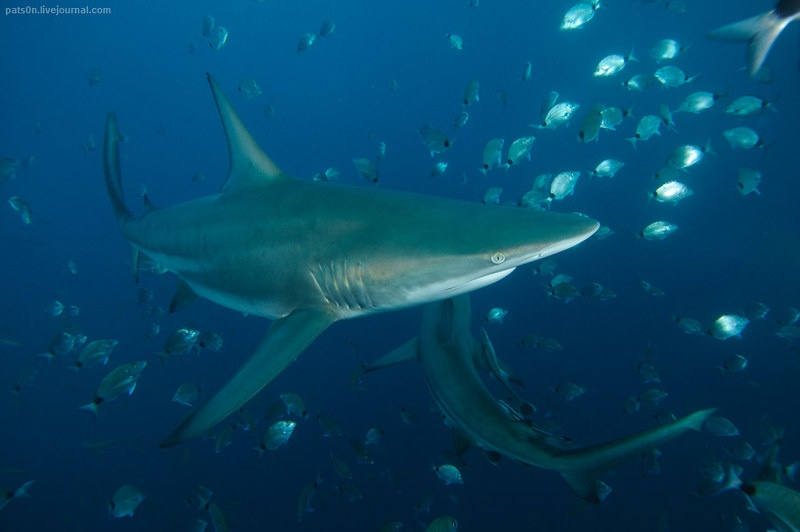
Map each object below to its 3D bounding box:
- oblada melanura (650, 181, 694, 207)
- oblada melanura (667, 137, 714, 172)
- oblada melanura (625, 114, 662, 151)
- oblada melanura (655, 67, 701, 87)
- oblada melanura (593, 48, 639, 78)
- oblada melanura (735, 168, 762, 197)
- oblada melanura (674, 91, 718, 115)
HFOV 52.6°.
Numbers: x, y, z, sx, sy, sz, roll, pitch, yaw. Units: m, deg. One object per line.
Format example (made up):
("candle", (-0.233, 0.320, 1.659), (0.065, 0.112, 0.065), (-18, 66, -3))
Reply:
("oblada melanura", (5.673, -1.539, 16.840), (0.843, 0.423, 0.285), (-6, 25, -9))
("oblada melanura", (6.036, -2.284, 16.823), (0.876, 0.636, 0.299), (-3, 25, -4))
("oblada melanura", (5.223, -2.868, 16.981), (0.551, 0.622, 0.703), (5, 25, 15))
("oblada melanura", (5.814, -4.029, 17.192), (0.729, 0.451, 0.534), (5, 25, 14))
("oblada melanura", (4.485, -4.241, 16.997), (0.804, 0.445, 0.368), (-7, 25, -12))
("oblada melanura", (7.395, -1.770, 17.058), (0.431, 0.551, 0.315), (-13, 27, -23))
("oblada melanura", (6.332, -3.475, 17.043), (0.732, 0.396, 0.471), (8, 26, 19))
